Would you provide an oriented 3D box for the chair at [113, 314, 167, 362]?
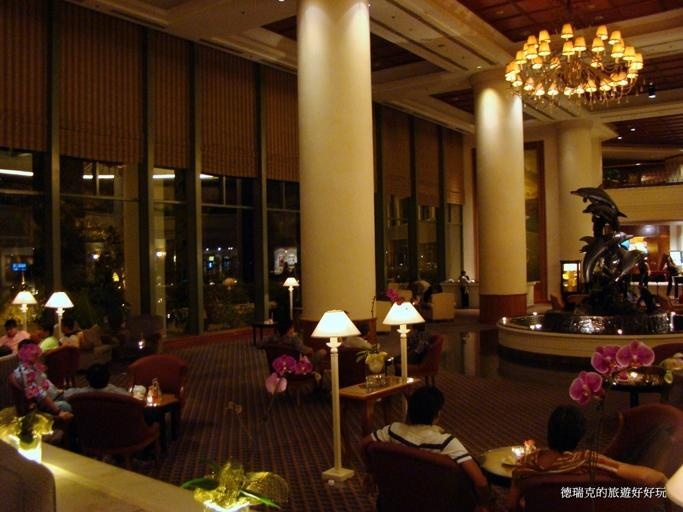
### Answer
[{"bbox_3d":[-3.889,1.642,10.528,0.844,0.977,1.021,2,0,-16],"label":"chair"}]

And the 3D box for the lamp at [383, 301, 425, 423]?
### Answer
[{"bbox_3d":[0.671,0.979,5.911,0.391,0.872,0.412,-5,-8,32],"label":"lamp"}]

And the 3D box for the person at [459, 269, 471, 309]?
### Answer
[{"bbox_3d":[4.507,1.257,19.889,0.407,1.223,0.446,-1,2,2],"label":"person"}]

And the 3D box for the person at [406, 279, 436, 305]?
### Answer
[{"bbox_3d":[2.536,1.121,17.324,0.805,0.749,1.310,2,3,-1],"label":"person"}]

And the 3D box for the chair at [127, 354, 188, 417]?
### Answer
[{"bbox_3d":[-2.126,1.569,6.673,0.623,0.867,0.664,1,-7,-11],"label":"chair"}]

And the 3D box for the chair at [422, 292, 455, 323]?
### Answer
[{"bbox_3d":[2.958,1.458,15.981,0.840,1.033,0.762,-1,5,-7],"label":"chair"}]

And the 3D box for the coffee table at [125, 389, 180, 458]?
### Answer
[{"bbox_3d":[-1.941,1.749,5.921,0.620,0.533,0.699,0,-2,7],"label":"coffee table"}]

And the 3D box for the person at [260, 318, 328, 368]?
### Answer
[{"bbox_3d":[-0.632,1.237,7.907,0.805,0.899,0.695,-4,7,-41],"label":"person"}]

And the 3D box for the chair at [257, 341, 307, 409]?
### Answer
[{"bbox_3d":[-0.790,1.609,7.405,0.561,0.657,0.519,-8,5,1],"label":"chair"}]

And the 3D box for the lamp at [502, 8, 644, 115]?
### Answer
[{"bbox_3d":[4.970,-4.037,11.678,2.609,1.017,2.629,3,5,-17],"label":"lamp"}]

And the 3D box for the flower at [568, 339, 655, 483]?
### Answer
[{"bbox_3d":[1.518,0.852,2.972,0.408,0.747,0.532,0,2,36],"label":"flower"}]

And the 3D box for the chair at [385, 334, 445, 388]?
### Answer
[{"bbox_3d":[1.118,1.601,7.945,0.710,0.805,0.611,-2,-1,-9],"label":"chair"}]

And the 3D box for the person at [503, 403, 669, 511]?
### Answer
[{"bbox_3d":[1.407,1.185,3.230,0.808,0.744,0.559,-2,-3,10],"label":"person"}]

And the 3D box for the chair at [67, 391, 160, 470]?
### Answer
[{"bbox_3d":[-2.174,1.707,5.279,0.631,0.876,0.767,0,-1,3],"label":"chair"}]

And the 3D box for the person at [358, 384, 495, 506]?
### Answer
[{"bbox_3d":[0.639,1.463,4.216,0.894,1.314,0.394,10,29,23],"label":"person"}]

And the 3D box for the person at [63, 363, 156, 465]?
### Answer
[{"bbox_3d":[-2.225,1.693,5.304,0.685,0.971,0.777,4,6,17],"label":"person"}]

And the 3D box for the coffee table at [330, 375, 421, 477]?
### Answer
[{"bbox_3d":[0.396,1.751,5.781,0.397,0.740,1.235,-3,-5,32],"label":"coffee table"}]
